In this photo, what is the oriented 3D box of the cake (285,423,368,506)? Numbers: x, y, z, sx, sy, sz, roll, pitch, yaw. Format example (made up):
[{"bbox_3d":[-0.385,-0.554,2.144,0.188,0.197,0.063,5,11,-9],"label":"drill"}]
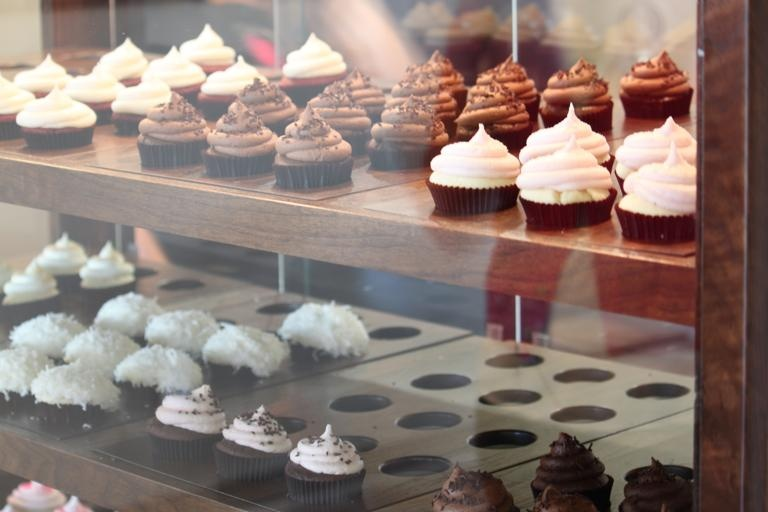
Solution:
[{"bbox_3d":[-0.115,0.405,1.643,0.146,0.120,0.144,1,5,5],"label":"cake"}]

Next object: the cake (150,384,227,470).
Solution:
[{"bbox_3d":[-0.404,0.359,1.756,0.147,0.122,0.143,3,-3,-6],"label":"cake"}]

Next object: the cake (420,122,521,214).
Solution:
[{"bbox_3d":[0.145,-0.151,1.350,0.150,0.126,0.149,4,14,19],"label":"cake"}]

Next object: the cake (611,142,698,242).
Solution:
[{"bbox_3d":[0.390,-0.100,1.225,0.134,0.116,0.133,4,16,19],"label":"cake"}]

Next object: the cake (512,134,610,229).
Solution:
[{"bbox_3d":[0.272,-0.120,1.328,0.144,0.117,0.141,-10,11,-37],"label":"cake"}]
